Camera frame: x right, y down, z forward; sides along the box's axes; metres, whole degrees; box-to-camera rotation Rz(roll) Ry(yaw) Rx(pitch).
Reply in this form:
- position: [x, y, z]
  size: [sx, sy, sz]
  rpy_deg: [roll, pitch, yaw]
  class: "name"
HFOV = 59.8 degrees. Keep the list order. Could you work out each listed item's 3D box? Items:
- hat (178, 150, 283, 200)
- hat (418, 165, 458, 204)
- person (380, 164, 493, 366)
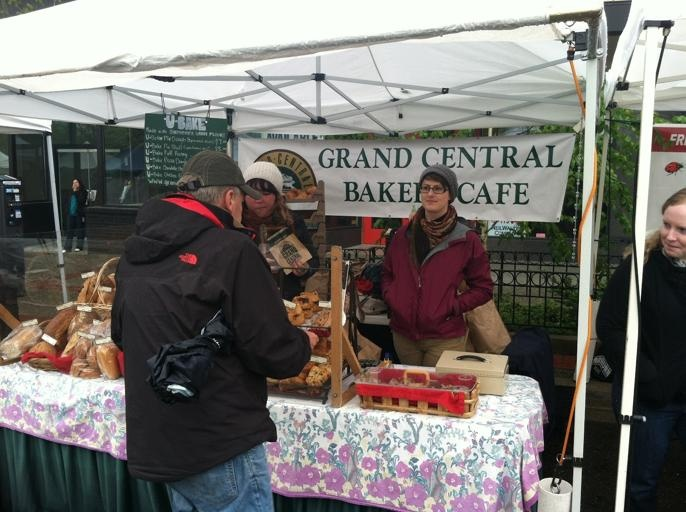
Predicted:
- position: [-0.613, -0.424, 2.988]
  size: [0.306, 0.170, 0.199]
  rpy_deg: [-3, 10, -34]
  class: "hat"
- position: [0.734, -0.592, 4.474]
  size: [0.237, 0.273, 0.329]
  rpy_deg: [5, -39, 21]
  class: "hat"
- position: [0.676, 0.073, 4.349]
  size: [0.802, 1.491, 0.427]
  rpy_deg: [0, 3, 13]
  class: "person"
